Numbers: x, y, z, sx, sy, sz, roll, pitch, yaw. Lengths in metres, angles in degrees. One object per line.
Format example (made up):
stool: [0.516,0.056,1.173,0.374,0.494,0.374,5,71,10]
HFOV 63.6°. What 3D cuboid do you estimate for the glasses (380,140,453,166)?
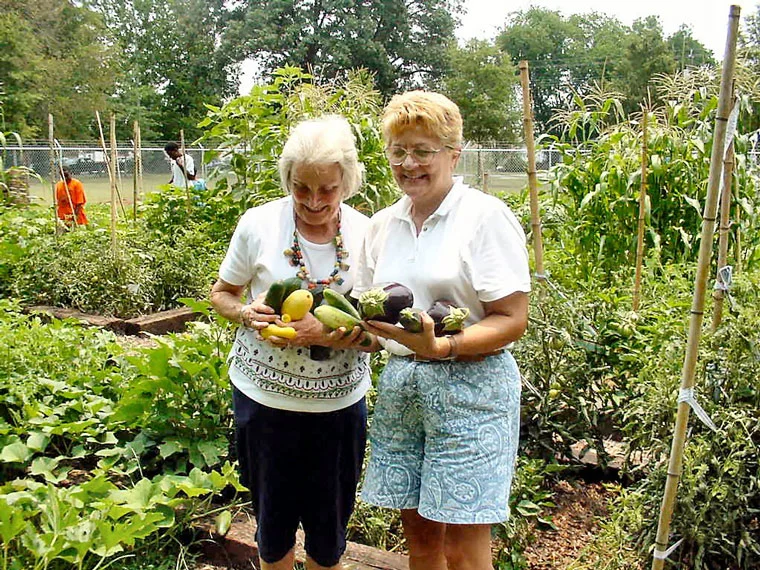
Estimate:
glasses: [0.170,-0.555,2.610,0.300,0.092,0.123,0,4,5]

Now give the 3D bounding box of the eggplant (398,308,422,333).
eggplant: [0.112,0.136,2.359,0.073,0.078,0.096,-2,3,4]

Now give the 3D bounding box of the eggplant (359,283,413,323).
eggplant: [0.024,0.073,2.465,0.215,0.155,0.176,-1,4,3]

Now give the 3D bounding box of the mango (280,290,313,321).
mango: [-0.355,0.092,2.602,0.082,0.166,0.095,40,21,16]

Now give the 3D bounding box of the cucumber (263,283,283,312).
cucumber: [-0.451,0.054,2.631,0.060,0.135,0.053,20,22,6]

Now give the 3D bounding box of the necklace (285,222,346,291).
necklace: [-0.278,-0.112,2.847,0.238,0.295,0.071,-2,-11,-7]

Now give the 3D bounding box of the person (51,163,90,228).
person: [-5.220,-1.320,10.326,0.463,1.282,0.481,-2,19,-11]

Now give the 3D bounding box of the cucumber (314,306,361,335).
cucumber: [-0.180,0.141,2.594,0.175,0.080,0.089,26,-5,-3]

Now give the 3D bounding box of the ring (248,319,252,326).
ring: [-0.573,0.166,2.688,0.019,0.021,0.025,-1,3,3]

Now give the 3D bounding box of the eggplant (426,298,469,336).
eggplant: [0.288,0.127,2.453,0.136,0.155,0.208,-12,16,-16]
